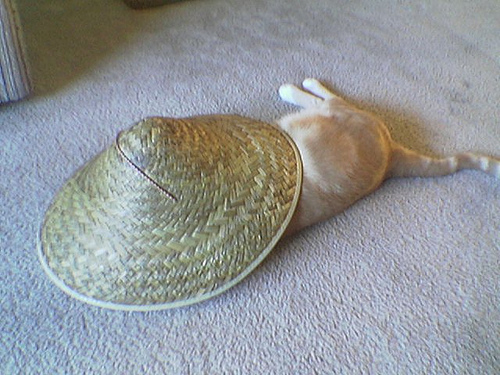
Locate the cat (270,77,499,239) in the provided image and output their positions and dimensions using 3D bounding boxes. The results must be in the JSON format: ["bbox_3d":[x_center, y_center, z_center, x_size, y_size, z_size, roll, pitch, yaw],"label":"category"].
[{"bbox_3d":[0.334,-0.065,1.176,0.674,0.237,0.330,3,86,-22],"label":"cat"}]
